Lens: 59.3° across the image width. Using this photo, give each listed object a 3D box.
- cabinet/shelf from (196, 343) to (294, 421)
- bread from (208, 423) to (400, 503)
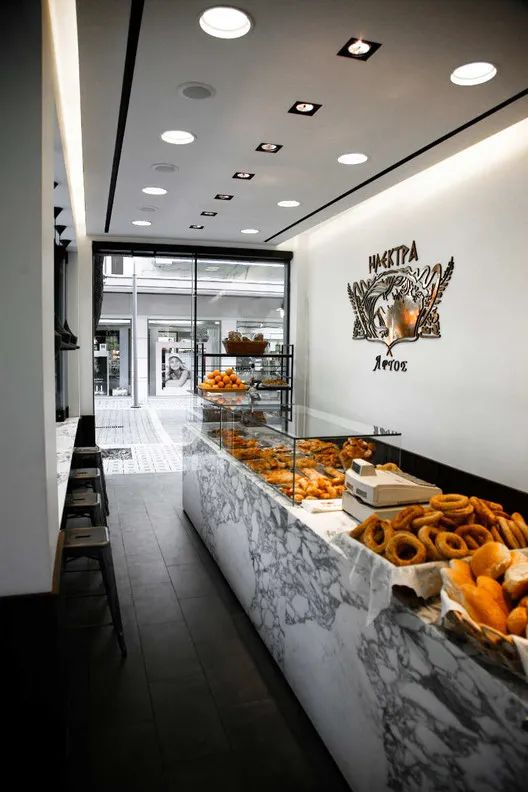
[{"bbox_3d":[-0.162,-0.172,4.771,0.734,1.046,0.303,0,0,-16],"label":"cabinet/shelf"},{"bbox_3d":[0.114,0.316,2.409,0.399,0.328,1.142,1,1,-30],"label":"bread"}]
